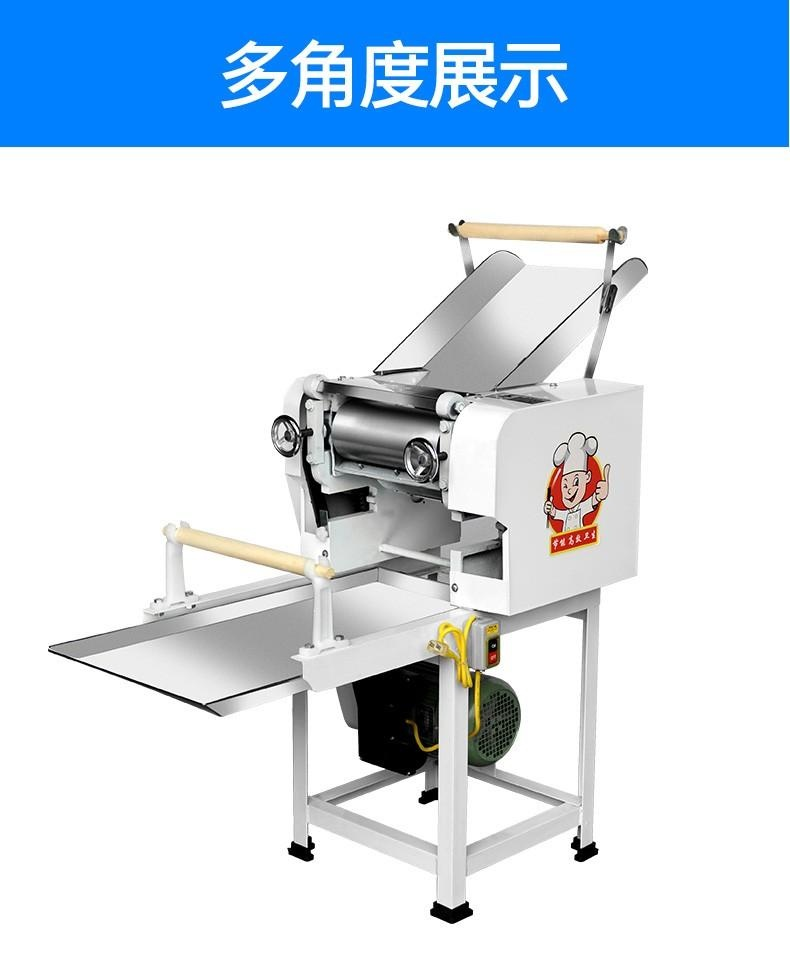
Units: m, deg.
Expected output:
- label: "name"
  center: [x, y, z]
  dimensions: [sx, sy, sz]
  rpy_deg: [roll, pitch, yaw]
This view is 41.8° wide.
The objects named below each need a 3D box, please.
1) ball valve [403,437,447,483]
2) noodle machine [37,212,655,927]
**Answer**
- label: "ball valve"
  center: [0.063, -0.066, 2.425]
  dimensions: [0.081, 0.112, 0.097]
  rpy_deg: [0, 10, -4]
- label: "noodle machine"
  center: [-0.138, 0.223, 2.615]
  dimensions: [1.607, 1.727, 0.865]
  rpy_deg: [-9, 13, -40]
